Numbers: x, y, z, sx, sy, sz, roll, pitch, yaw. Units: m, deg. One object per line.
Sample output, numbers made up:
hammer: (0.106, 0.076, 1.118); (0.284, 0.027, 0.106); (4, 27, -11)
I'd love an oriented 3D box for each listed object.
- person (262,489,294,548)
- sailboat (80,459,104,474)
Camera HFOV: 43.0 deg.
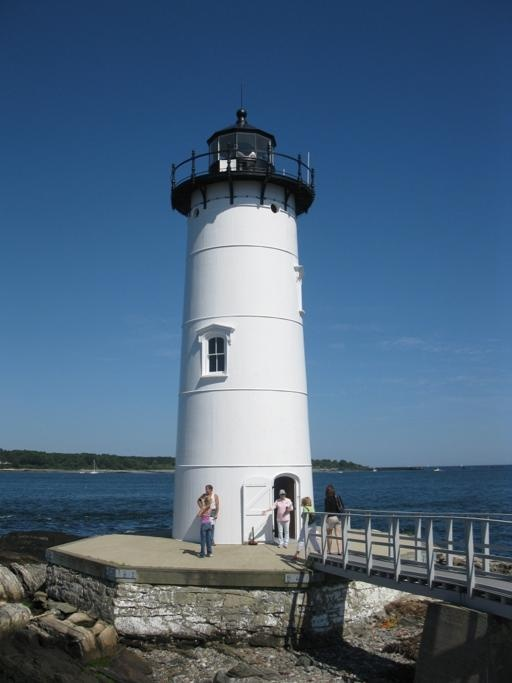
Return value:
person: (0.642, 4.723, 17.450); (0.694, 1.447, 1.943); (1, -11, 3)
sailboat: (-57.215, 43.572, 228.054); (5.512, 4.412, 10.643); (2, -11, 1)
